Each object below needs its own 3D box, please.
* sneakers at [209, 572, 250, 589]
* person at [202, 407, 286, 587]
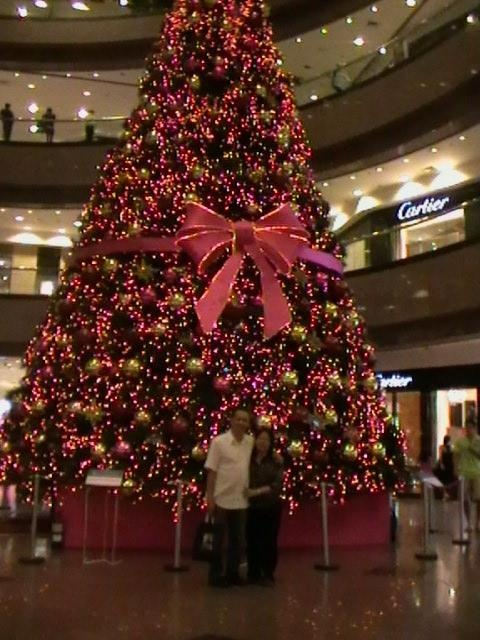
[{"bbox_3d":[-0.063,1.600,3.781,0.265,0.086,0.105,7,-11,-38],"label":"sneakers"},{"bbox_3d":[0.020,1.138,4.006,0.481,1.108,0.572,0,-9,3],"label":"person"}]
